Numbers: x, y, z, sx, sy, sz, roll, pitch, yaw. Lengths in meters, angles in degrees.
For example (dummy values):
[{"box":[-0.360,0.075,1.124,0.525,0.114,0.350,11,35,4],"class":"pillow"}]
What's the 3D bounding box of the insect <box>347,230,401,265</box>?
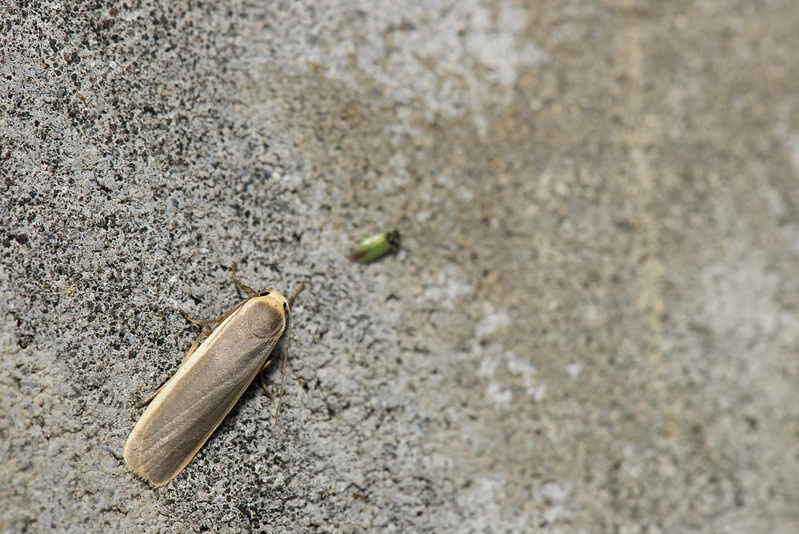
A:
[{"box":[-0.096,-0.080,4.765,0.188,0.059,0.152,-31,-64,5],"class":"insect"}]
